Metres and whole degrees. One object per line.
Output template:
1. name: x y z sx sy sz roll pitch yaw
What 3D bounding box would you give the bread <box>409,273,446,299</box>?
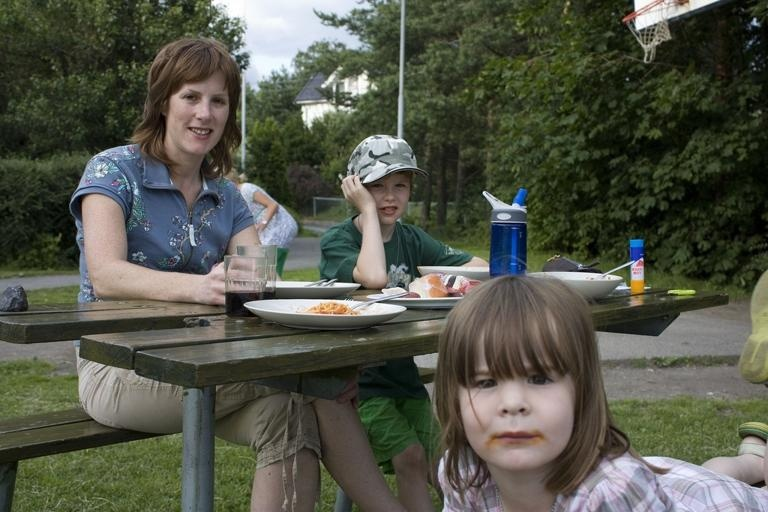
1. bread: 0.247 0.173 4.299 0.141 0.138 0.060 -5 -40 -5

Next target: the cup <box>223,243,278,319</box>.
1. cup: -0.707 0.117 4.085 0.231 0.374 0.372 0 -6 2
